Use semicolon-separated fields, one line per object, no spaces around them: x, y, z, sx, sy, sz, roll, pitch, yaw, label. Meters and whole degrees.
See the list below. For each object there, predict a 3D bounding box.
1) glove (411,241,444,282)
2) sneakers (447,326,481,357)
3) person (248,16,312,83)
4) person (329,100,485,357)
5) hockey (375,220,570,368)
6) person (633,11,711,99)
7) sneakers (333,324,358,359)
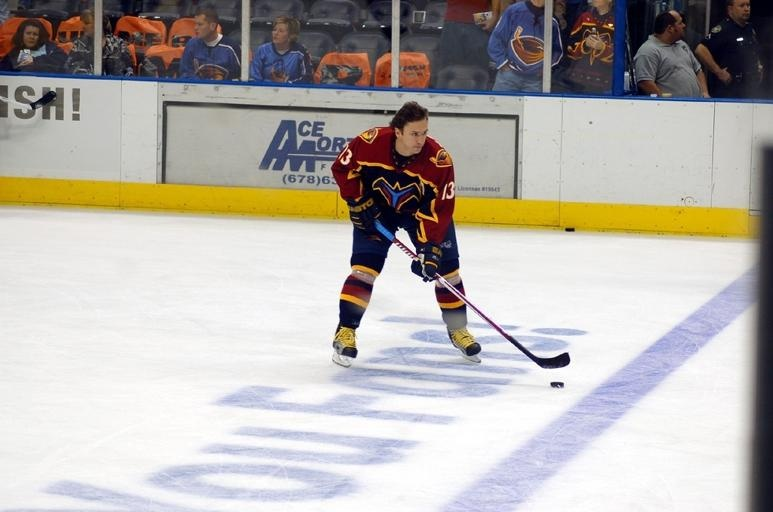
0.206;0.025;5.771;0.162;0.200;0.094;16;0;26;glove
0.426;0.462;5.880;0.089;0.104;0.248;-38;32;-6;sneakers
-0.989;-1.899;10.092;0.668;0.654;0.417;8;22;21;person
0.105;-0.131;5.823;0.847;1.394;0.528;3;8;-3;person
0.573;0.326;6.062;0.128;0.194;1.389;36;4;-36;hockey
2.668;-1.858;9.874;0.704;0.779;0.330;5;8;8;person
-0.223;0.461;5.721;0.127;0.163;0.173;3;8;-3;sneakers
